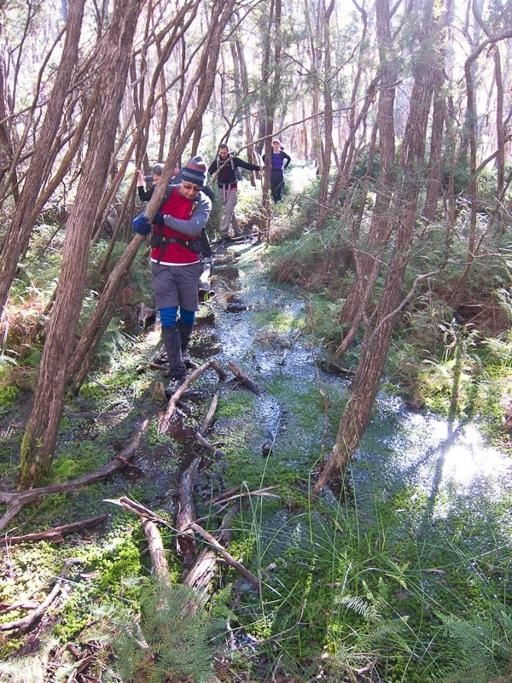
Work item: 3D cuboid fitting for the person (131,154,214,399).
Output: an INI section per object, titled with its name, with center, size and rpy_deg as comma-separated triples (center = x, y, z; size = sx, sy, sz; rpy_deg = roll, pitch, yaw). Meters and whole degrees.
[person]
center = -0.765, -0.633, 4.962
size = 0.517, 1.629, 0.900
rpy_deg = 10, 4, -7

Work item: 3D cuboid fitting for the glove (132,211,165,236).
[glove]
center = -0.908, -1.010, 4.505
size = 0.183, 0.257, 0.095
rpy_deg = 4, -43, 34

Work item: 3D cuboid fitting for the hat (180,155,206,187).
[hat]
center = -0.532, -1.508, 4.599
size = 0.202, 0.208, 0.273
rpy_deg = 10, 4, -11
